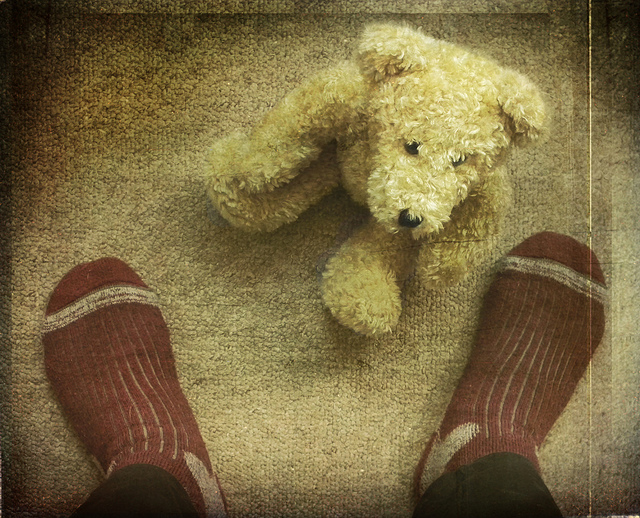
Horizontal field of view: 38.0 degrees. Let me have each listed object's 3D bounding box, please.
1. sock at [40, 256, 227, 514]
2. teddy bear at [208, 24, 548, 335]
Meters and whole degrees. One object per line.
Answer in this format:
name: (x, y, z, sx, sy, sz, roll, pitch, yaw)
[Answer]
sock: (-0.304, 0.173, 1.485, 0.189, 0.184, 0.514, -25, 96, -12)
teddy bear: (0.092, -0.144, 1.377, 0.409, 0.108, 0.436, 41, 92, 1)
